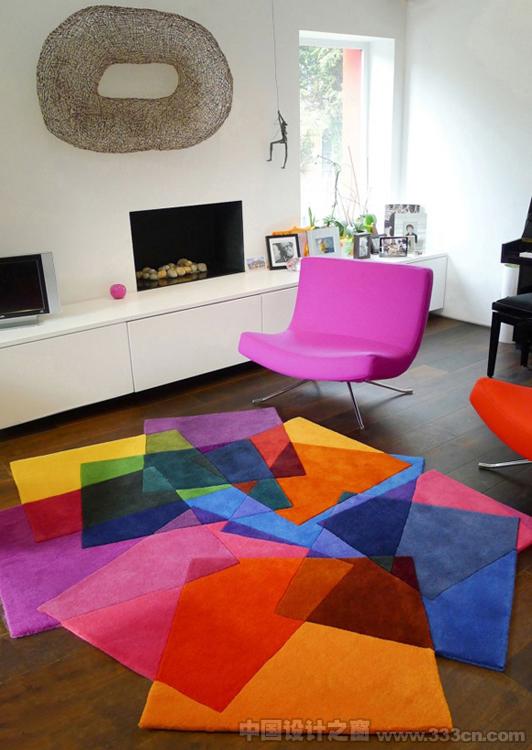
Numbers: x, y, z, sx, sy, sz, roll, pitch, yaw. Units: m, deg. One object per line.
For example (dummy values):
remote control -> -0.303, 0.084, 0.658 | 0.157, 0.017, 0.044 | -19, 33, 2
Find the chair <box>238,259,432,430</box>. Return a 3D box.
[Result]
chair -> 0.339, -0.302, 2.858 | 0.799, 0.515, 0.657 | 14, 25, 42
